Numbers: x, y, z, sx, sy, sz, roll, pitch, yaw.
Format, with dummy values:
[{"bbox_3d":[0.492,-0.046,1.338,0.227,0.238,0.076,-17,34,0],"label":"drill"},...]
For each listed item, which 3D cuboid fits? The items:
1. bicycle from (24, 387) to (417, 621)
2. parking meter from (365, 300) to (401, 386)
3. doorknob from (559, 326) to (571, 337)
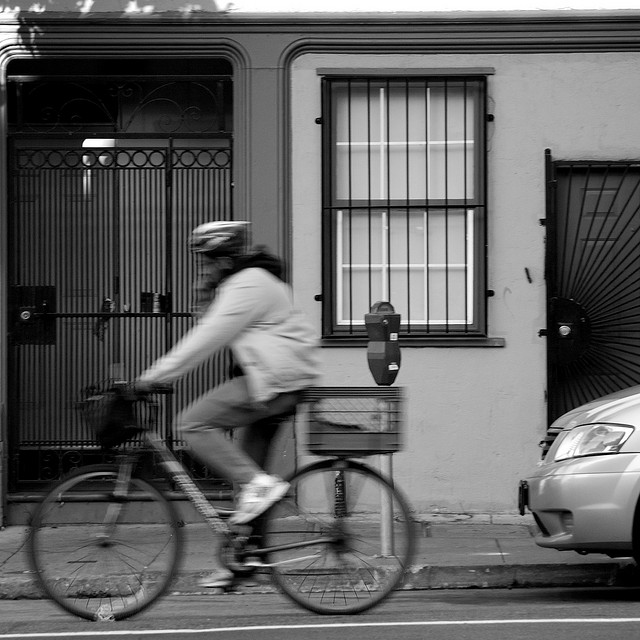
[{"bbox_3d":[-0.556,1.027,7.431,2.208,1.340,0.320,-1,6,1],"label":"bicycle"},{"bbox_3d":[0.412,0.157,8.450,0.219,0.548,0.218,-1,6,2],"label":"parking meter"},{"bbox_3d":[1.948,0.088,10.365,0.087,0.086,0.028,-3,6,-17],"label":"doorknob"}]
